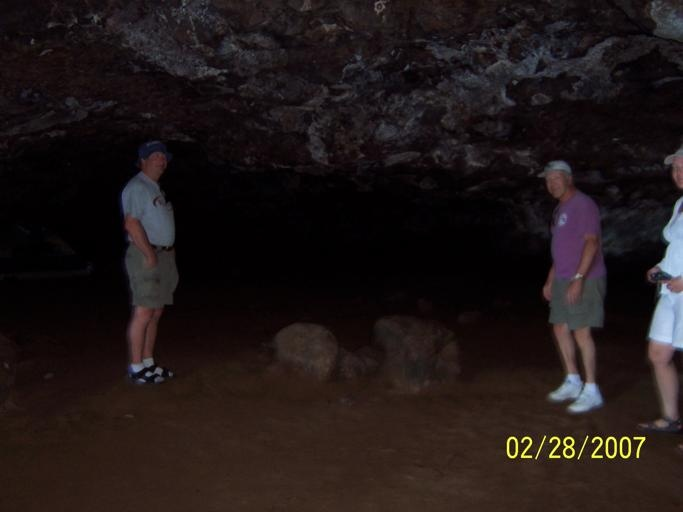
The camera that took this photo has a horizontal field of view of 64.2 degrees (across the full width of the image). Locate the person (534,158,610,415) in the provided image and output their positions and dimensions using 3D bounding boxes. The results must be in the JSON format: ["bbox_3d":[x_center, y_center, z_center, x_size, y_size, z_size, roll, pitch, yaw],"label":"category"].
[{"bbox_3d":[2.296,0.261,5.384,0.721,2.414,0.714,4,8,19],"label":"person"}]

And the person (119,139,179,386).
[{"bbox_3d":[-1.920,0.220,5.459,0.496,2.096,0.403,-2,8,-21],"label":"person"}]

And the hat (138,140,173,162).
[{"bbox_3d":[-1.873,-1.052,5.543,0.338,0.161,0.230,-12,22,-24],"label":"hat"}]

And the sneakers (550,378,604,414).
[{"bbox_3d":[2.316,1.372,5.334,0.220,0.247,0.609,-26,6,-37],"label":"sneakers"}]

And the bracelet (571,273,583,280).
[{"bbox_3d":[2.231,0.186,5.156,0.068,0.054,0.063,-3,16,-1],"label":"bracelet"}]

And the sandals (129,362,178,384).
[{"bbox_3d":[-1.933,1.176,5.482,0.318,0.100,0.217,3,-3,-7],"label":"sandals"}]

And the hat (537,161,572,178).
[{"bbox_3d":[2.140,-0.881,5.430,0.393,0.168,0.274,7,6,11],"label":"hat"}]
